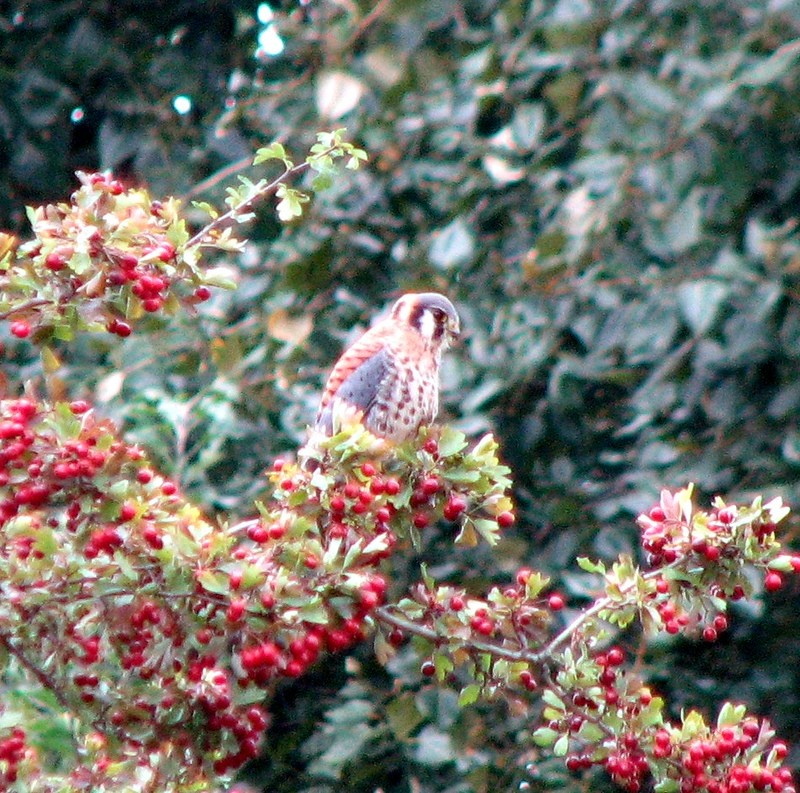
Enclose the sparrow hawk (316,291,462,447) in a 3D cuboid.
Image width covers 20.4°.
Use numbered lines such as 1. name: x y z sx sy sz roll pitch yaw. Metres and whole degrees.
1. sparrow hawk: -0.026 -0.075 5.531 0.385 0.279 0.421 5 58 -13
